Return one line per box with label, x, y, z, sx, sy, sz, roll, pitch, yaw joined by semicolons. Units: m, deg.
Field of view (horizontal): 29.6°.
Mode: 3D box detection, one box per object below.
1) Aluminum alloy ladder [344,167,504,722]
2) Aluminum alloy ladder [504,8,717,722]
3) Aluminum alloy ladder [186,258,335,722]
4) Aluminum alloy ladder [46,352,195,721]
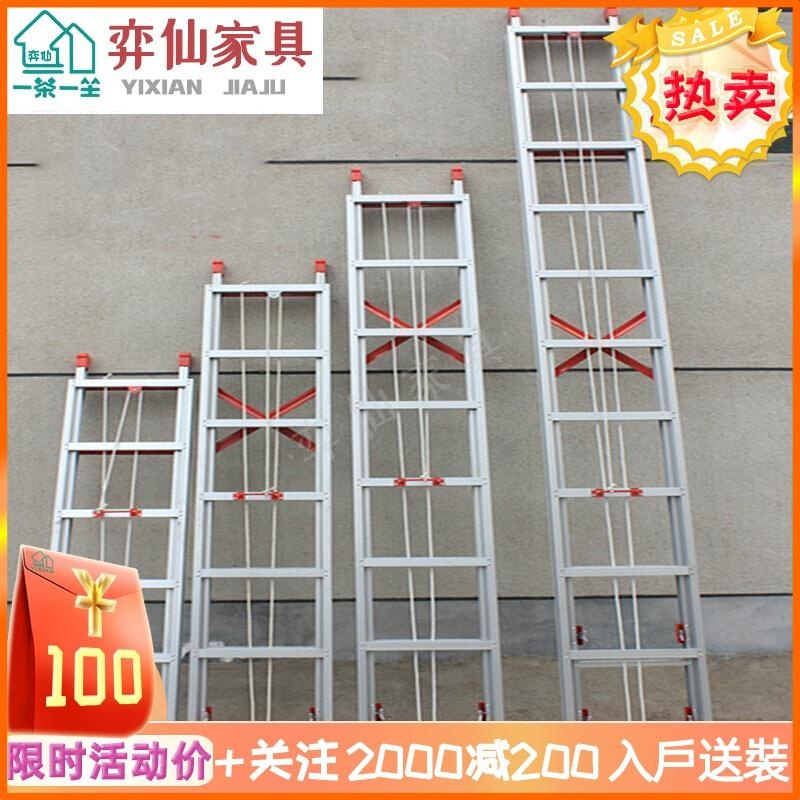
Aluminum alloy ladder;0.067;0.156;5.979;0.569;2.204;0.605;-3;-19;-2
Aluminum alloy ladder;0.800;-0.176;6.075;0.567;2.904;0.710;-5;-19;4
Aluminum alloy ladder;-0.550;0.348;5.963;0.603;1.819;0.497;-1;-19;-6
Aluminum alloy ladder;-1.064;0.505;5.886;0.552;1.421;0.280;-1;-19;-6
